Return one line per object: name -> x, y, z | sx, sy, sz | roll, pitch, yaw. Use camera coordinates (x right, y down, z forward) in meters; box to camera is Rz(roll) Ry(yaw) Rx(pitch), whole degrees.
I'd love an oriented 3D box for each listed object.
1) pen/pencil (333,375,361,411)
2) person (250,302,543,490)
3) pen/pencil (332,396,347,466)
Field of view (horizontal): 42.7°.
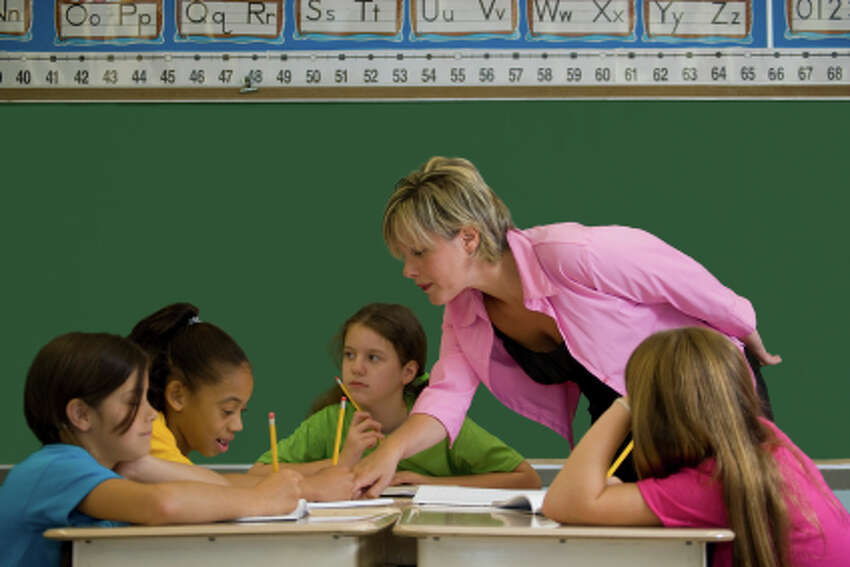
pen/pencil -> -0.229, 0.334, 3.301 | 0.011, 0.127, 0.010 | -18, 20, 35
person -> -0.099, 0.351, 3.340 | 0.824, 0.578, 0.475 | -1, -3, 14
pen/pencil -> -0.246, 0.437, 3.182 | 0.020, 0.219, 0.015 | -21, 44, -37
